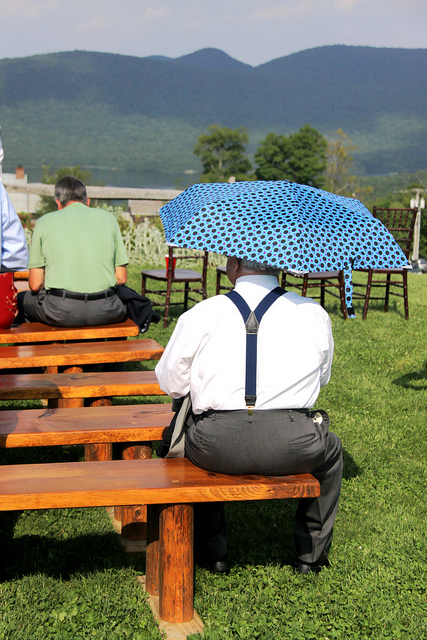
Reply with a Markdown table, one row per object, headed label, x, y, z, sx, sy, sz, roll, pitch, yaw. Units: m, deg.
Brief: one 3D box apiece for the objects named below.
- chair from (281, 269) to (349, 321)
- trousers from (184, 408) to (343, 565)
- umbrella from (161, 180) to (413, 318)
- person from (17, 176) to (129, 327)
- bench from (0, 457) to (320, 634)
| label | x | y | z | sx | sy | sz | roll | pitch | yaw |
| --- | --- | --- | --- | --- | --- | --- | --- | --- | --- |
| chair | 1.508 | -0.615 | 10.791 | 0.649 | 0.988 | 0.673 | -2 | 0 | -19 |
| trousers | 0.268 | 0.669 | 3.399 | 0.706 | 0.802 | 0.694 | 1 | 13 | 9 |
| umbrella | 0.373 | -0.398 | 3.204 | 0.804 | 0.275 | 0.809 | 25 | 14 | 26 |
| person | -1.101 | -0.544 | 5.955 | 0.966 | 1.115 | 0.959 | -8 | 16 | -30 |
| bench | -0.303 | 1.143 | 3.387 | 1.467 | 0.649 | 0.722 | 0 | 15 | -8 |
